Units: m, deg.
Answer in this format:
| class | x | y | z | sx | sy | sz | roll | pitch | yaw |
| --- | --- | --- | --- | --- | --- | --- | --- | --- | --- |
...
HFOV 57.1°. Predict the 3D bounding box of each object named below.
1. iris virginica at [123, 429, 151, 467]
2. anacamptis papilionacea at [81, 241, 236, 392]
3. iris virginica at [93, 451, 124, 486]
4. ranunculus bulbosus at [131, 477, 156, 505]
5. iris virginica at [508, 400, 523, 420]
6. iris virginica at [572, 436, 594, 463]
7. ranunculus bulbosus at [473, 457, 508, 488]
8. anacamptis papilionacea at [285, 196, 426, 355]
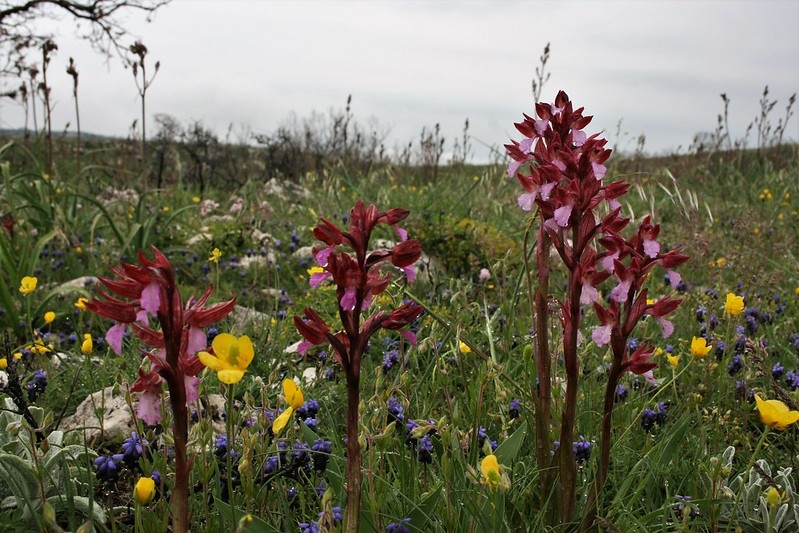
| class | x | y | z | sx | sy | sz | roll | pitch | yaw |
| --- | --- | --- | --- | --- | --- | --- | --- | --- | --- |
| iris virginica | -1.477 | 1.030 | 4.112 | 0.130 | 0.183 | 0.316 | 3 | 2 | -15 |
| anacamptis papilionacea | -1.197 | 0.254 | 3.684 | 0.708 | 0.698 | 0.287 | 4 | 2 | -9 |
| iris virginica | -1.582 | 1.094 | 4.078 | 0.158 | 0.201 | 0.179 | 18 | -11 | -11 |
| ranunculus bulbosus | -1.294 | 1.138 | 3.719 | 0.092 | 0.182 | 0.179 | 3 | 2 | -21 |
| iris virginica | 0.754 | 0.957 | 4.781 | 0.047 | 0.165 | 0.080 | 8 | 15 | 15 |
| iris virginica | 1.118 | 1.128 | 4.491 | 0.098 | 0.143 | 0.299 | 4 | 1 | 16 |
| ranunculus bulbosus | 0.476 | 1.026 | 3.699 | 0.150 | 0.149 | 0.257 | 4 | 1 | 8 |
| anacamptis papilionacea | -0.193 | 0.040 | 4.059 | 0.623 | 1.032 | 0.699 | 7 | 1 | 4 |
